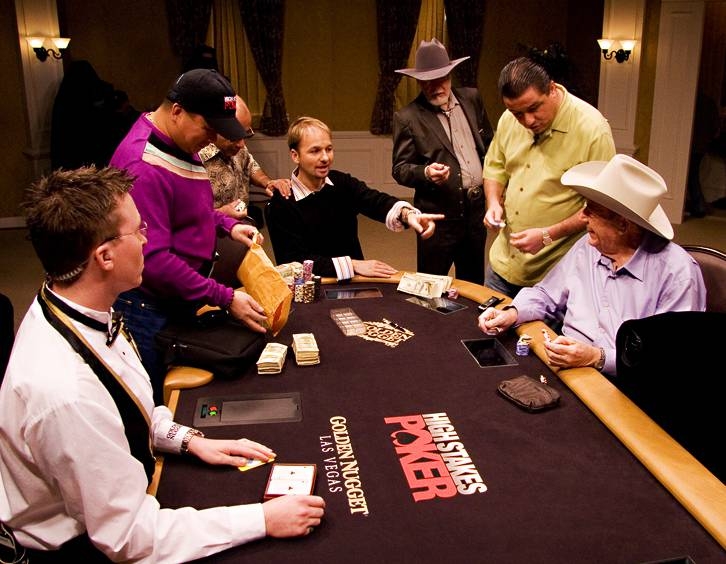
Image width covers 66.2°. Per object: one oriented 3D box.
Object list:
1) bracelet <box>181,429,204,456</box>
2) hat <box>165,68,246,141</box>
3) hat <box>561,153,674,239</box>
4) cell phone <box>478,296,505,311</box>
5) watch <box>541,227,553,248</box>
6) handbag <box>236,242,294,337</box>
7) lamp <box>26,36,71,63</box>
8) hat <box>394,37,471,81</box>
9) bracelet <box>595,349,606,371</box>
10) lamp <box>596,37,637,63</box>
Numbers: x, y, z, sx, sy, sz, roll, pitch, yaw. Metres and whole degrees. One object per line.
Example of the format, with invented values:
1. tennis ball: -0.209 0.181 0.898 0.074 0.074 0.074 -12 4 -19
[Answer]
1. bracelet: -0.586 0.543 1.897 0.061 0.080 0.029 1 -9 18
2. hat: -0.669 -0.768 2.414 0.340 0.288 0.189 5 22 18
3. hat: 1.180 -0.417 2.586 0.444 0.346 0.541 -21 29 -40
4. cell phone: 0.681 0.103 2.951 0.119 0.033 0.069 -29 18 -33
5. watch: 1.041 -0.255 3.136 0.054 0.098 0.090 -9 29 6
6. handbag: -0.481 0.047 2.734 0.135 0.323 0.355 -3 38 -43
7. lamp: -3.982 -2.945 7.050 0.350 0.301 0.364 11 25 30
8. hat: 0.539 -1.552 4.169 0.520 0.267 0.648 -7 31 12
9. bracelet: 1.031 0.329 2.398 0.034 0.078 0.061 7 8 16
10. lamp: 3.540 -3.206 7.731 0.469 0.320 0.259 8 23 24
